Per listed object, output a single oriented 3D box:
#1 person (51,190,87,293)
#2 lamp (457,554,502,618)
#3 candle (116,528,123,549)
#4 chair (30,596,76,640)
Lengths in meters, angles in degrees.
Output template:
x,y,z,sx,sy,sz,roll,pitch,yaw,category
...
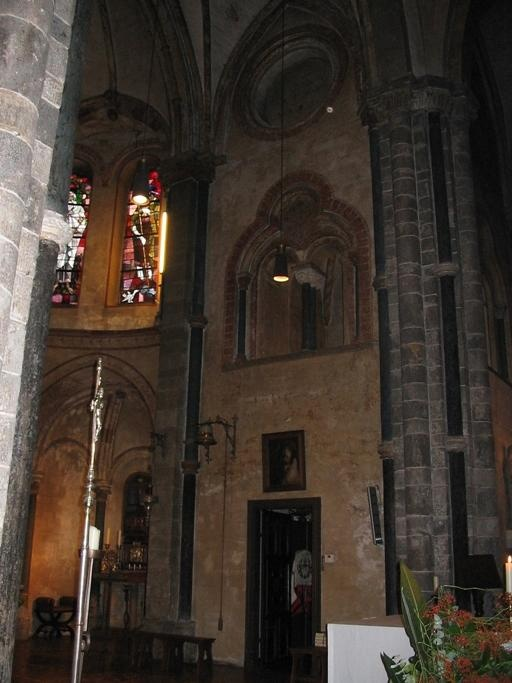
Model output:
x,y,z,sx,sy,sz,roll,pitch,yaw,category
-4.542,-2.465,15.595,0.686,3.478,0.470,0,-19,-1,person
2.496,2.644,7.111,0.302,0.438,0.301,-21,-40,39,lamp
-3.299,4.772,15.268,0.110,0.348,0.223,11,-22,-30,candle
-4.487,6.141,13.952,0.886,0.824,1.455,5,-19,-15,chair
